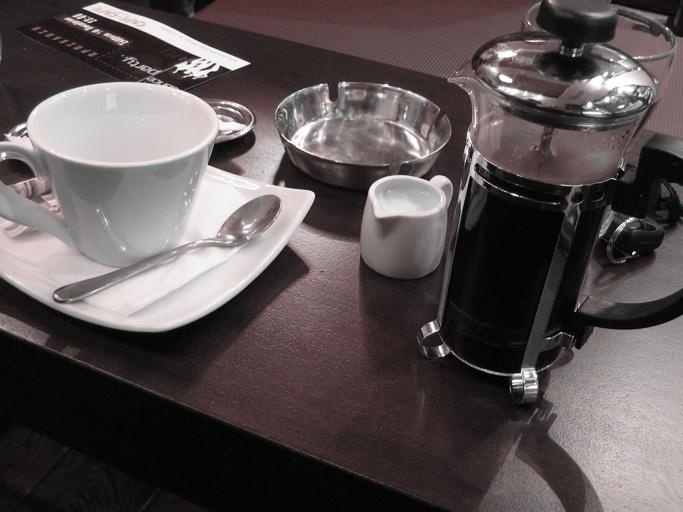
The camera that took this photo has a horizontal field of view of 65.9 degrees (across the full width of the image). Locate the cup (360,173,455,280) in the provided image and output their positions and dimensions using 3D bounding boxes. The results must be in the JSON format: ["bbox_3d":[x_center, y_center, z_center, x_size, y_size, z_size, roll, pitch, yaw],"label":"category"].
[{"bbox_3d":[0.070,-0.045,0.567,0.073,0.070,0.115,25,49,19],"label":"cup"}]
